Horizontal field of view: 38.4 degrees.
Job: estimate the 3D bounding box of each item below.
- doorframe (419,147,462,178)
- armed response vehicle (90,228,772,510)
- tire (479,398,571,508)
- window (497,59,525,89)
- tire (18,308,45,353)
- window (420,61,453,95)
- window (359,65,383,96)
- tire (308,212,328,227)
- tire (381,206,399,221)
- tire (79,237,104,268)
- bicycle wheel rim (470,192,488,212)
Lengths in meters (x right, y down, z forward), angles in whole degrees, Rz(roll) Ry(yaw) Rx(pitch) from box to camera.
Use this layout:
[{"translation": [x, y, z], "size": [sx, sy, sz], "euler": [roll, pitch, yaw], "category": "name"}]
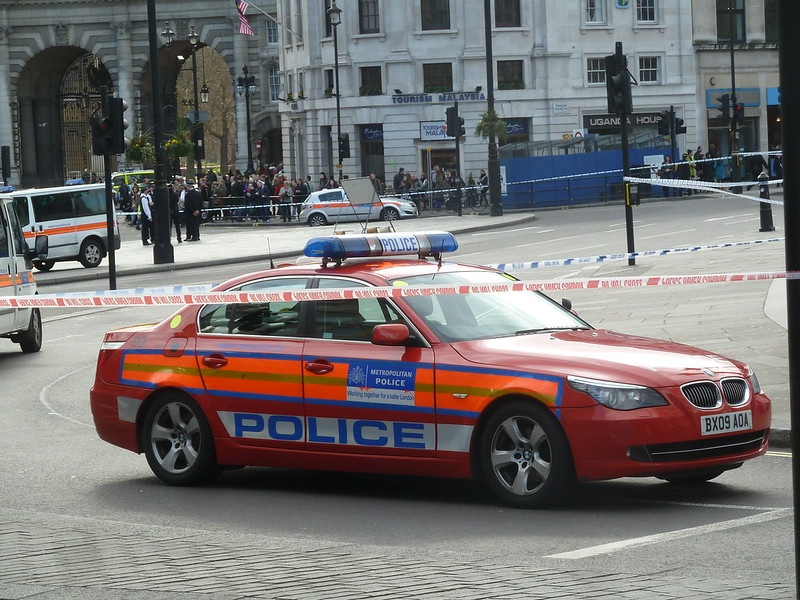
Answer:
[{"translation": [1.960, -6.717, 55.940], "size": [2.256, 2.107, 1.224], "euler": [2, 8, 5], "category": "doorframe"}, {"translation": [0.122, 0.657, 9.120], "size": [4.843, 1.705, 2.168], "euler": [-2, -2, 31], "category": "armed response vehicle"}, {"translation": [0.899, 1.052, 8.017], "size": [0.735, 0.736, 0.268], "euler": [-7, -3, 33], "category": "tire"}, {"translation": [5.600, -11.478, 58.466], "size": [1.559, 1.440, 0.748], "euler": [1, 0, -3], "category": "window"}, {"translation": [-5.512, 0.471, 17.263], "size": [0.226, 0.700, 0.705], "euler": [-2, 3, 11], "category": "tire"}, {"translation": [1.895, -11.274, 58.328], "size": [1.729, 1.702, 0.169], "euler": [1, 1, 6], "category": "window"}, {"translation": [-1.390, -11.216, 58.796], "size": [1.640, 1.893, 0.189], "euler": [1, -2, 3], "category": "window"}, {"translation": [-3.216, -3.234, 46.088], "size": [0.642, 0.639, 0.210], "euler": [3, 4, 9], "category": "tire"}, {"translation": [-0.385, -3.341, 44.387], "size": [0.962, 0.558, 0.418], "euler": [2, 9, 42], "category": "tire"}, {"translation": [-8.710, -1.359, 32.606], "size": [0.271, 0.769, 0.775], "euler": [7, -4, 37], "category": "tire"}, {"translation": [3.237, -4.005, 46.892], "size": [0.657, 1.008, 0.503], "euler": [12, 8, 6], "category": "bicycle wheel rim"}]
